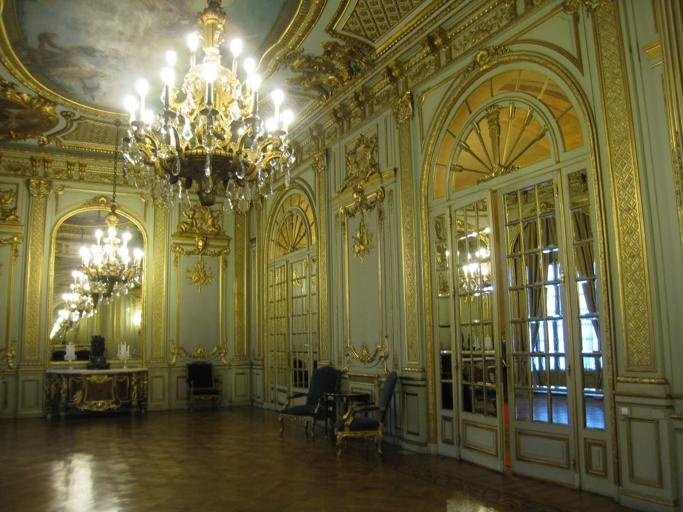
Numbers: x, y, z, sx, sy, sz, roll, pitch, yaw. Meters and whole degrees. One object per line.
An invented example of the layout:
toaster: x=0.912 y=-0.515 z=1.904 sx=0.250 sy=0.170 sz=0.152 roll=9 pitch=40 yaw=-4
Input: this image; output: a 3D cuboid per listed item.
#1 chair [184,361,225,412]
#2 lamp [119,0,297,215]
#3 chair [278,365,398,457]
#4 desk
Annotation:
chair: x=-2.916 y=2.762 z=11.426 sx=0.706 sy=1.074 sz=0.631 roll=4 pitch=-10 yaw=-35
lamp: x=-1.604 y=-1.980 z=6.651 sx=1.754 sy=2.853 sz=1.894 roll=-4 pitch=-14 yaw=11
chair: x=-0.049 y=2.174 z=7.872 sx=1.123 sy=1.108 sz=2.046 roll=7 pitch=-13 yaw=-28
desk: x=-4.837 y=2.694 z=10.697 sx=1.889 sy=0.949 sz=0.654 roll=7 pitch=-12 yaw=-25
